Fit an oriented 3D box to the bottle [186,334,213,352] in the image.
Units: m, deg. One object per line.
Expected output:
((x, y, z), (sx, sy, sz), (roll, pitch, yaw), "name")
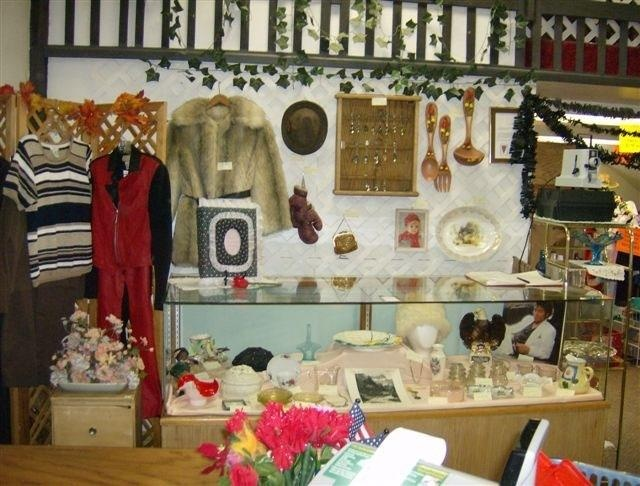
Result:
((-0.736, 0.607, 4.815), (0.101, 0.098, 0.113), (0, -16, 2), "bottle")

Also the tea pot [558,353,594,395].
((1.573, 0.812, 4.882), (0.227, 0.258, 0.161), (2, -1, 32), "tea pot")

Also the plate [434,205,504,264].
((1.148, -0.059, 6.188), (0.506, 0.559, 0.110), (21, -35, 24), "plate")

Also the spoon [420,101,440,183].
((0.858, -0.765, 6.145), (0.105, 0.650, 0.081), (1, 16, 5), "spoon")

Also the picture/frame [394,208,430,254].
((0.702, -0.102, 6.208), (0.275, 0.388, 0.025), (0, 5, -5), "picture/frame")

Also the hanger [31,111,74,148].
((-1.859, -0.764, 5.470), (0.258, 0.241, 0.390), (1, -2, -20), "hanger")

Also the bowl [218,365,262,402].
((-0.484, 0.815, 4.693), (0.179, 0.137, 0.200), (1, -4, -7), "bowl")

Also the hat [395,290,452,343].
((0.659, 0.531, 4.937), (0.298, 0.393, 0.345), (5, -11, -3), "hat")

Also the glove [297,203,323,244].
((-0.129, -0.156, 6.121), (0.221, 0.172, 0.448), (3, -25, 7), "glove")

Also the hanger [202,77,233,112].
((-0.792, -1.107, 5.956), (0.227, 0.296, 0.013), (2, -18, 0), "hanger")

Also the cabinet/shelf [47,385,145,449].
((-1.392, 1.086, 4.872), (0.420, 0.517, 0.346), (0, -5, -8), "cabinet/shelf")
